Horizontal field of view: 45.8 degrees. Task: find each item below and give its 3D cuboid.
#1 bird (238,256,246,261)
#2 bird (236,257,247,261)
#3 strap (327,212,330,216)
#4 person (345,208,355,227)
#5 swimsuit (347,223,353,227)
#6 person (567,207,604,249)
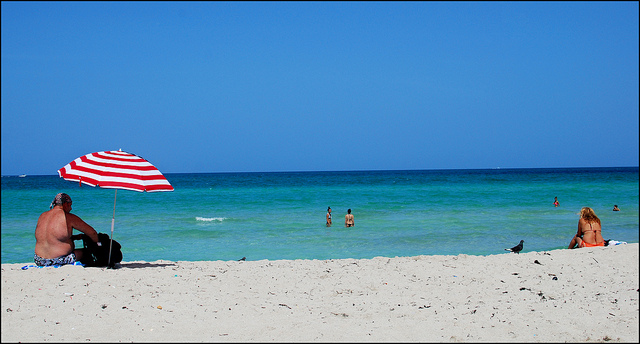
[{"bbox_3d":[-3.698,4.030,35.478,0.292,0.171,0.638,9,-16,-41],"label":"bird"},{"bbox_3d":[-3.823,4.209,36.789,0.411,0.226,0.810,-4,-7,-21],"label":"bird"},{"bbox_3d":[0.484,2.479,45.303,0.081,0.240,0.294,0,-6,-11],"label":"strap"},{"bbox_3d":[1.759,2.680,45.033,0.565,1.053,1.060,-1,6,2],"label":"person"},{"bbox_3d":[1.804,3.111,44.872,0.269,0.135,0.061,-3,7,-28],"label":"swimsuit"},{"bbox_3d":[12.365,2.553,34.831,1.397,1.868,0.746,1,7,17],"label":"person"}]
